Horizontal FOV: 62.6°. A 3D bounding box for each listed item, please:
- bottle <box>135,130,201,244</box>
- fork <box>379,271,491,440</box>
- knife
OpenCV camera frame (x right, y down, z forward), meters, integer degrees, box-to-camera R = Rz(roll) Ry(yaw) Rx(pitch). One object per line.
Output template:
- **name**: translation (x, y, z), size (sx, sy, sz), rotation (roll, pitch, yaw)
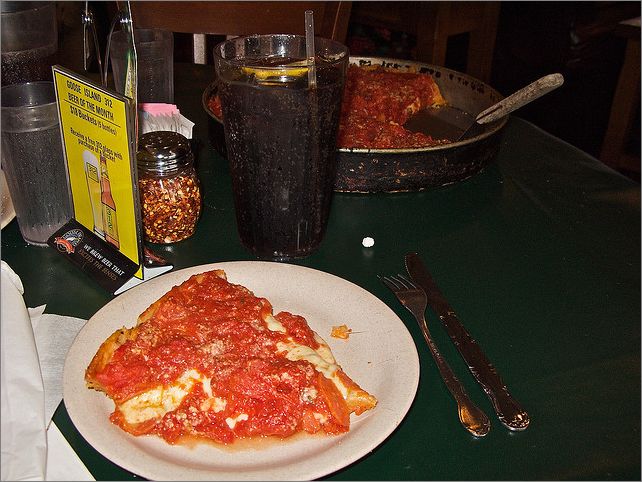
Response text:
- **bottle**: translation (-0.272, -0.092, 0.935), size (0.111, 0.174, 0.117), rotation (5, 22, -2)
- **fork**: translation (0.158, 0.158, 0.783), size (0.048, 0.015, 0.319), rotation (-12, 38, -12)
- **knife**: translation (0.185, 0.143, 0.823), size (0.050, 0.020, 0.409), rotation (-17, 38, -13)
